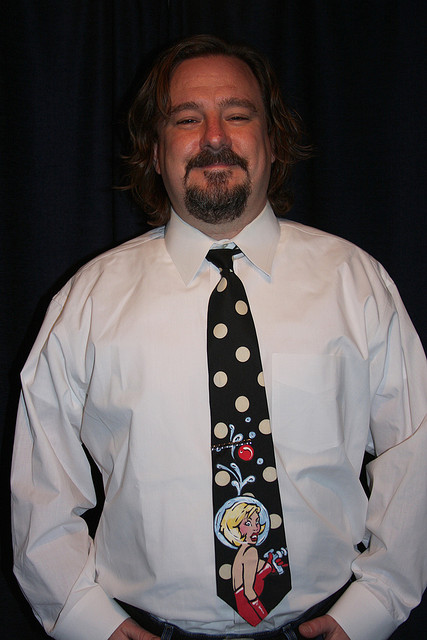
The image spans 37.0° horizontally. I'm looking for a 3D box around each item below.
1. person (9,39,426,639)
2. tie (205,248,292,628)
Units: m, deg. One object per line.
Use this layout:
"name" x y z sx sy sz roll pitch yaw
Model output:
"person" 0.017 -0.010 1.289 0.779 1.006 0.451 -2 0 15
"tie" 0.058 0.187 1.150 0.129 0.571 0.177 -2 0 -1
